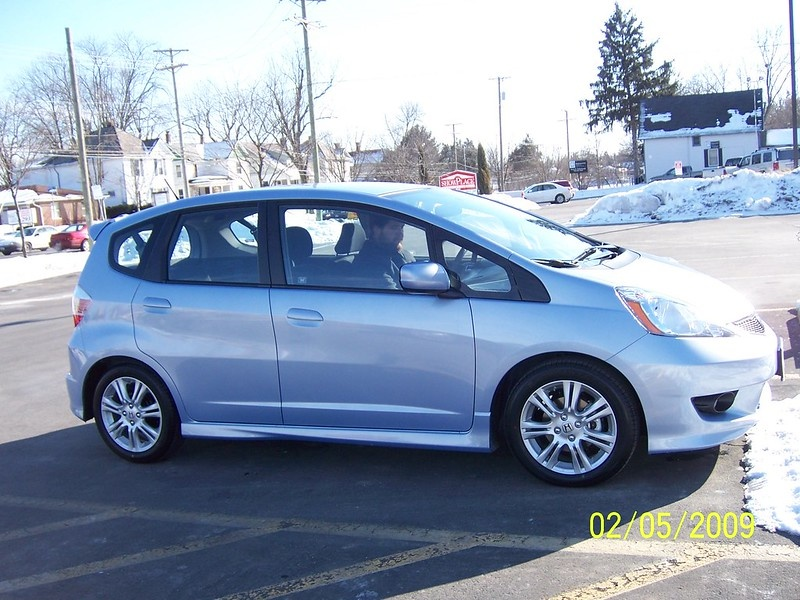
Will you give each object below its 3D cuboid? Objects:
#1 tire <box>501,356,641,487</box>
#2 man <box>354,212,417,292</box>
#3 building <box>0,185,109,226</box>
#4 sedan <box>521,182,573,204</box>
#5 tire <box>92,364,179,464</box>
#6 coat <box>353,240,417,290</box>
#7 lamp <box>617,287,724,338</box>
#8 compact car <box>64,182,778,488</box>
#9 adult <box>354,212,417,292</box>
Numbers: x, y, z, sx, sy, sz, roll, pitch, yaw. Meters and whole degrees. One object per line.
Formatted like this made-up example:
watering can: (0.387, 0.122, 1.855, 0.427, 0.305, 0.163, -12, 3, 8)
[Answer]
tire: (1.183, 0.805, 4.079, 0.904, 0.755, 0.294, -25, -7, 7)
man: (-0.116, -0.354, 4.463, 0.353, 0.380, 0.652, 0, 10, 15)
building: (-39.723, -9.980, 63.012, 14.842, 4.092, 11.019, -1, 9, -5)
sedan: (12.389, -8.933, 49.826, 4.354, 1.180, 1.707, 4, 13, 8)
tire: (-2.216, 0.947, 5.040, 1.070, 0.823, 0.312, 5, 4, 18)
coat: (-0.124, -0.256, 4.498, 0.381, 0.255, 0.613, 1, 15, 20)
lamp: (1.814, 0.099, 3.982, 0.811, 0.204, 0.131, 16, 6, 1)
compact car: (0.030, 0.220, 5.160, 5.253, 1.594, 2.521, -1, 4, 14)
adult: (-0.116, -0.354, 4.463, 0.353, 0.380, 0.652, 0, 10, 15)
